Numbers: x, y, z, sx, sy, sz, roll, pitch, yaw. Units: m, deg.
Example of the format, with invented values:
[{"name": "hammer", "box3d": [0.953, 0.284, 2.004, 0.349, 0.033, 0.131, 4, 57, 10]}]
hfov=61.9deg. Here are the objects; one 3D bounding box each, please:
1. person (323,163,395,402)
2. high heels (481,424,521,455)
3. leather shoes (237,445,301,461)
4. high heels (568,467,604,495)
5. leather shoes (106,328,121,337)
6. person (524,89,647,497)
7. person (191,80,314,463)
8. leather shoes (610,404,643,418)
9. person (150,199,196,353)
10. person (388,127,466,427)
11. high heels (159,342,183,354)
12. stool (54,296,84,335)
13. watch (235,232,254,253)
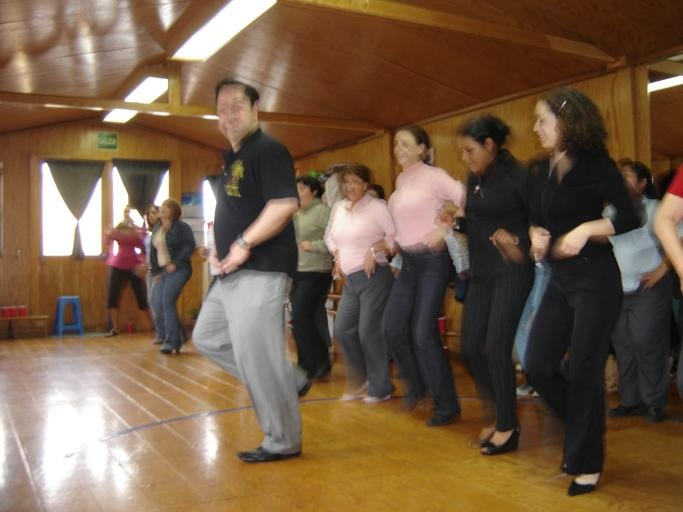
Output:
[{"name": "person", "box3d": [0.198, 0.223, 4.767, 0.374, 1.982, 0.689, 0, -1, -39]}, {"name": "high heels", "box3d": [0.964, 1.127, 3.490, 0.229, 0.109, 0.123, -2, 0, -16]}, {"name": "leather shoes", "box3d": [-0.443, 1.167, 3.396, 0.330, 0.135, 0.123, 4, -11, -6]}, {"name": "high heels", "box3d": [1.248, 1.130, 2.910, 0.207, 0.057, 0.079, -23, 21, -28]}, {"name": "leather shoes", "box3d": [-3.885, 1.320, 9.738, 0.119, 0.105, 0.263, -2, -6, 1]}, {"name": "person", "box3d": [1.220, 0.177, 2.920, 0.559, 1.383, 0.351, -1, -1, 30]}, {"name": "person", "box3d": [-0.547, 0.090, 3.318, 0.613, 2.237, 0.365, -1, -1, 0]}, {"name": "leather shoes", "box3d": [2.132, 1.162, 4.247, 0.253, 0.104, 0.094, 3, -7, -3]}, {"name": "person", "box3d": [-2.397, 0.266, 7.927, 0.434, 2.061, 0.951, 0, -1, -35]}, {"name": "person", "box3d": [0.620, 0.119, 4.205, 0.390, 2.170, 0.704, 0, -1, -30]}, {"name": "high heels", "box3d": [-2.272, 1.234, 7.591, 0.247, 0.129, 0.137, 9, -6, -13]}, {"name": "stool", "box3d": [-4.648, 1.046, 10.016, 0.622, 0.837, 0.596, 4, -7, -34]}, {"name": "watch", "box3d": [-0.547, -0.070, 3.163, 0.075, 0.097, 0.044, -42, -5, 14]}]
